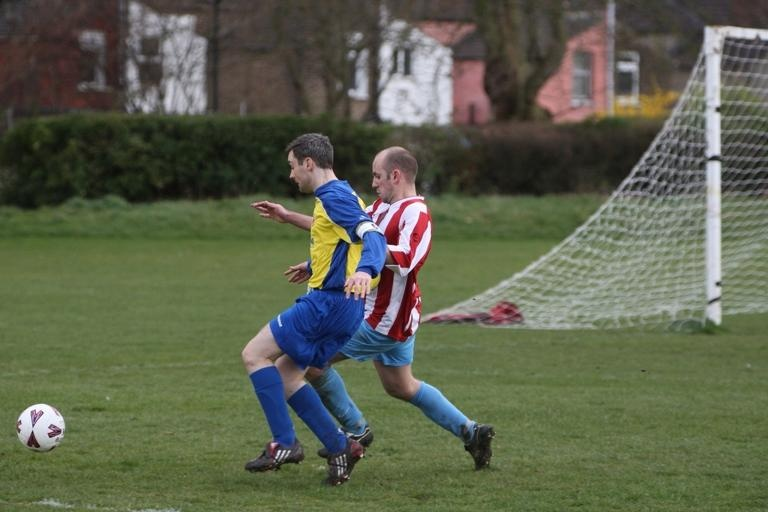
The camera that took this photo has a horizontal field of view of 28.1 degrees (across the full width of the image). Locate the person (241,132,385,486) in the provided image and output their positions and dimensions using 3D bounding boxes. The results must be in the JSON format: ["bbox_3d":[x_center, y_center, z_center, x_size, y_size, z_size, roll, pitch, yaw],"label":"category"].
[{"bbox_3d":[-0.514,0.377,11.254,1.018,2.561,0.477,1,5,-1],"label":"person"}]

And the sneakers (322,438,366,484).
[{"bbox_3d":[-0.325,1.483,11.376,0.241,0.416,0.163,22,-4,-13],"label":"sneakers"}]

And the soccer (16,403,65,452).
[{"bbox_3d":[-2.515,1.291,11.532,0.426,0.330,0.358,12,-11,2],"label":"soccer"}]

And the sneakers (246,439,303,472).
[{"bbox_3d":[-0.798,1.453,11.349,0.486,0.216,0.180,-11,1,-7],"label":"sneakers"}]
